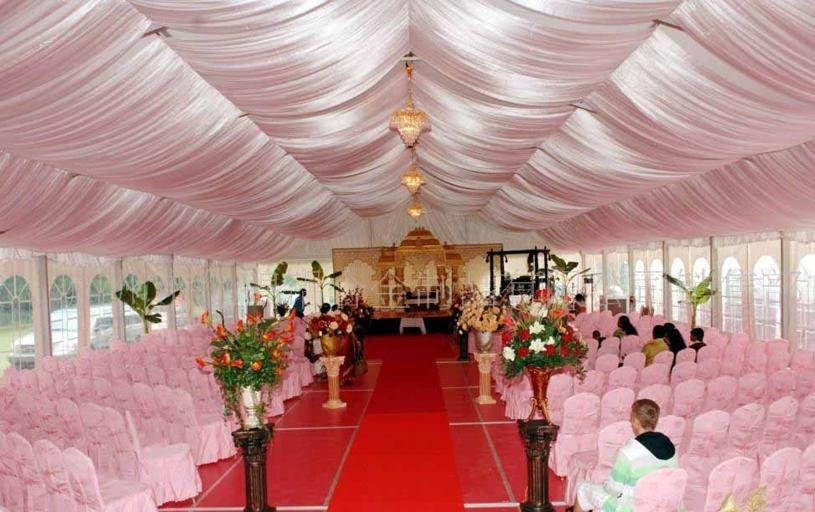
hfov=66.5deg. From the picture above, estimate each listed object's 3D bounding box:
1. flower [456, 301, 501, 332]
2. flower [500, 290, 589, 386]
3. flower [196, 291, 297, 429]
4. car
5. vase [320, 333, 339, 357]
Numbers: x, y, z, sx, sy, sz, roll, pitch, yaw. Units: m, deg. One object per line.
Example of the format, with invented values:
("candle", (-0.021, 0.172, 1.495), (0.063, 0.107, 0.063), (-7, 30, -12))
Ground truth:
("flower", (1.549, 1.235, 12.844), (0.676, 0.378, 0.682), (-4, -6, 10))
("flower", (1.803, 1.107, 8.900), (1.198, 1.376, 1.142), (0, -4, -14))
("flower", (-2.049, 1.516, 8.214), (0.947, 1.558, 0.481), (-8, 9, -22))
("car", (-8.544, 1.942, 16.196), (0.869, 1.033, 4.393), (2, 0, 21))
("vase", (-1.539, 1.796, 12.639), (0.430, 0.404, 0.374), (-1, -3, -6))
